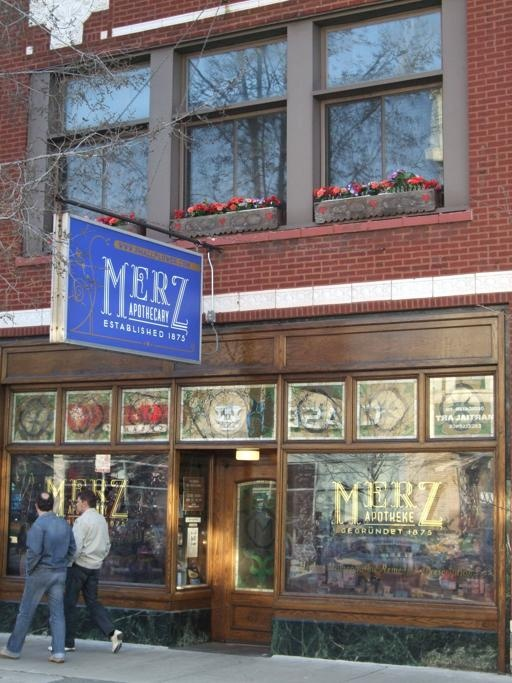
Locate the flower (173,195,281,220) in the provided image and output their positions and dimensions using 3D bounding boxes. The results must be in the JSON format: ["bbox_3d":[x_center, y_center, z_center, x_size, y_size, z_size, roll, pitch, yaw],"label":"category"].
[{"bbox_3d":[-0.303,-1.548,11.559,1.333,0.247,0.309,-3,-7,29],"label":"flower"}]

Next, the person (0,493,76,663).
[{"bbox_3d":[-2.063,2.270,9.666,0.580,1.577,0.420,1,-7,-13],"label":"person"}]

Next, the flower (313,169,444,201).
[{"bbox_3d":[1.271,-1.637,10.674,1.365,0.314,0.297,-3,-7,29],"label":"flower"}]

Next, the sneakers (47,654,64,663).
[{"bbox_3d":[-1.885,3.009,9.622,0.064,0.077,0.185,2,1,-27],"label":"sneakers"}]

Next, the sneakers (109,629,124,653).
[{"bbox_3d":[-1.421,3.055,10.301,0.110,0.268,0.351,1,-6,-8],"label":"sneakers"}]
